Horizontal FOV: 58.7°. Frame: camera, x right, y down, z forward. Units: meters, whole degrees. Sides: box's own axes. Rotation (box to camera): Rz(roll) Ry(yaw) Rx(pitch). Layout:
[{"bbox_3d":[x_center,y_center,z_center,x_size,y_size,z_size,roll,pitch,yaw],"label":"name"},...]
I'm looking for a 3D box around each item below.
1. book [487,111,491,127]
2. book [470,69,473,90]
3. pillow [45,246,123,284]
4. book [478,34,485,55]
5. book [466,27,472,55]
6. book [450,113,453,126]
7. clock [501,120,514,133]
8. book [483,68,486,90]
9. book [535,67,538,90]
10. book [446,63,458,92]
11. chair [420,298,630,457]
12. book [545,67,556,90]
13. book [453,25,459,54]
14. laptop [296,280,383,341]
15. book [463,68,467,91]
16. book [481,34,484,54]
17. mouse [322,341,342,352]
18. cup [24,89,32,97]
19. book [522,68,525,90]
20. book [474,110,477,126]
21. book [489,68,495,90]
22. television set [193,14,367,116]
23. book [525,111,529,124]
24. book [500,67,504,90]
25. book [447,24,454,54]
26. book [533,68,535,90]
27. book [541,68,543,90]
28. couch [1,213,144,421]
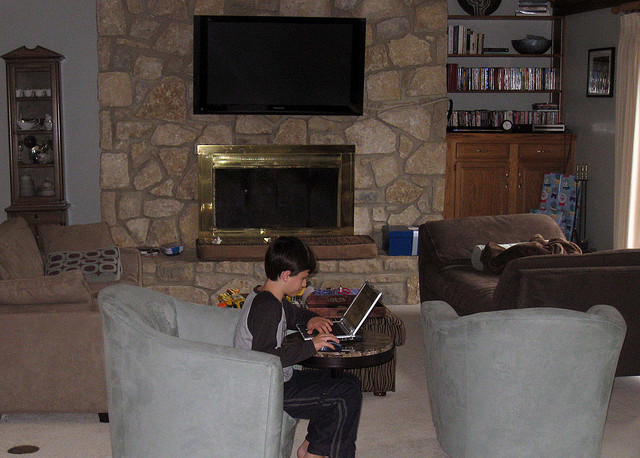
[{"bbox_3d":[1.934,-1.261,6.534,0.039,0.164,0.027,-1,4,7],"label":"book"},{"bbox_3d":[1.679,-1.659,6.339,0.028,0.208,0.027,-1,4,10],"label":"book"},{"bbox_3d":[-1.770,0.265,4.320,0.345,0.123,0.343,-5,27,-13],"label":"pillow"},{"bbox_3d":[1.788,-2.029,6.308,0.061,0.218,0.143,1,4,28],"label":"book"},{"bbox_3d":[1.639,-2.057,6.279,0.044,0.281,0.114,1,4,33],"label":"book"},{"bbox_3d":[1.488,-1.233,6.464,0.034,0.121,0.016,-3,4,-30],"label":"book"},{"bbox_3d":[2.104,-1.150,6.410,0.133,0.172,0.305,0,3,17],"label":"clock"},{"bbox_3d":[1.830,-1.677,6.360,0.031,0.220,0.012,-1,4,-2],"label":"book"},{"bbox_3d":[2.424,-1.677,6.401,0.027,0.224,0.036,0,4,21],"label":"book"},{"bbox_3d":[1.461,-1.677,6.327,0.126,0.314,0.085,-2,4,-9],"label":"book"},{"bbox_3d":[0.813,0.594,2.485,0.777,0.694,0.677,-1,7,1],"label":"chair"},{"bbox_3d":[2.582,-1.677,6.402,0.126,0.226,0.045,-1,4,8],"label":"book"},{"bbox_3d":[1.485,-2.060,6.237,0.064,0.301,0.031,-1,4,2],"label":"book"},{"bbox_3d":[0.117,0.404,2.980,0.341,0.246,0.328,0,13,-11],"label":"laptop"},{"bbox_3d":[1.606,-1.660,6.327,0.047,0.233,0.026,-1,4,-1],"label":"book"},{"bbox_3d":[1.822,-2.068,6.402,0.013,0.285,0.319,0,3,19],"label":"book"},{"bbox_3d":[0.061,0.557,2.790,0.081,0.048,0.063,26,16,26],"label":"mouse"},{"bbox_3d":[-2.703,-1.251,5.285,0.073,0.060,0.056,0,1,-43],"label":"cup"},{"bbox_3d":[2.276,-1.674,6.391,0.028,0.229,0.010,-3,4,-19],"label":"book"},{"bbox_3d":[1.778,-1.261,6.515,0.021,0.175,0.037,0,4,14],"label":"book"},{"bbox_3d":[1.915,-1.670,6.365,0.062,0.220,0.023,-2,4,-15],"label":"book"},{"bbox_3d":[-0.395,-1.570,5.462,1.708,1.008,0.168,1,1,1],"label":"television set"},{"bbox_3d":[2.368,-1.274,6.537,0.048,0.135,0.034,-1,4,9],"label":"book"},{"bbox_3d":[2.029,-1.671,6.368,0.048,0.234,0.019,-2,4,-15],"label":"book"},{"bbox_3d":[1.431,-2.065,6.241,0.057,0.323,0.080,1,4,30],"label":"book"},{"bbox_3d":[2.396,-1.677,6.400,0.013,0.224,0.026,1,4,24],"label":"book"},{"bbox_3d":[2.488,-1.677,6.403,0.013,0.223,0.040,0,4,22],"label":"book"},{"bbox_3d":[-1.439,0.518,3.249,0.510,0.511,1.142,0,11,-16],"label":"couch"}]
